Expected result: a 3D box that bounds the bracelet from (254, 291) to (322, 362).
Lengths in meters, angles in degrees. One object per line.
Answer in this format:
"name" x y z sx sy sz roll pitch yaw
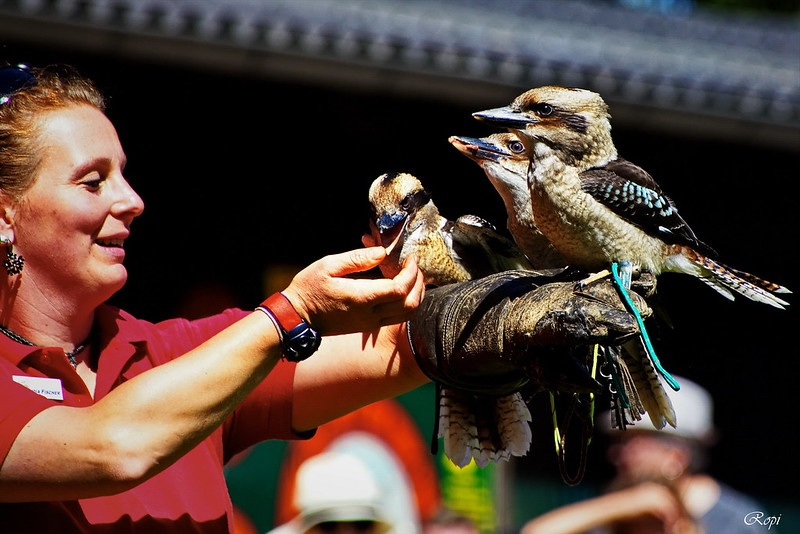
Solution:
"bracelet" -0.401 0.214 4.678 0.119 0.173 0.177 -38 34 -5
